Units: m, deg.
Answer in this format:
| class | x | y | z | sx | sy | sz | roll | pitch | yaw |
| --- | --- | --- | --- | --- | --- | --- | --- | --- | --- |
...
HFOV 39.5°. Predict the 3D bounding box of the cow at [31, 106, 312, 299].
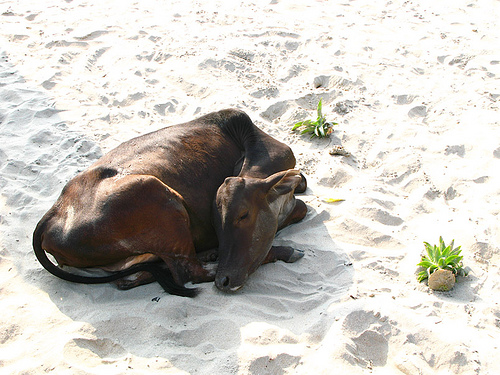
| class | x | y | z | sx | sy | sz | roll | pitch | yaw |
| --- | --- | --- | --- | --- | --- | --- | --- | --- | --- |
| cow | -0.707 | 0.193 | 8.207 | 3.066 | 0.981 | 2.082 | -15 | 30 | -36 |
